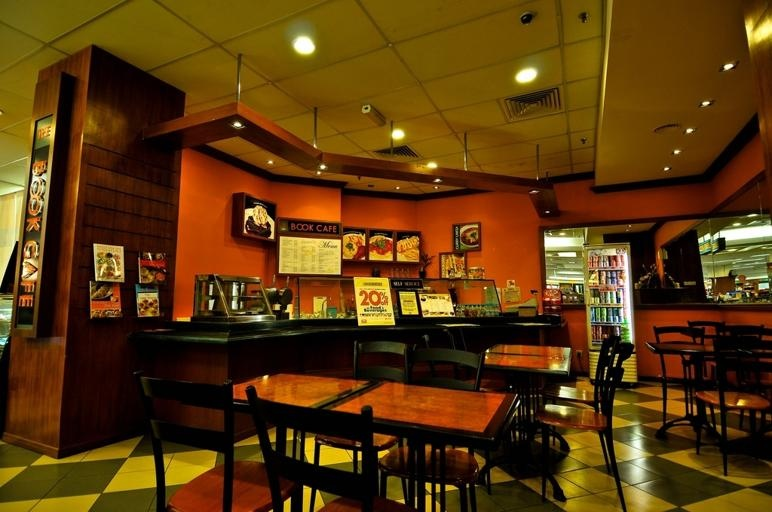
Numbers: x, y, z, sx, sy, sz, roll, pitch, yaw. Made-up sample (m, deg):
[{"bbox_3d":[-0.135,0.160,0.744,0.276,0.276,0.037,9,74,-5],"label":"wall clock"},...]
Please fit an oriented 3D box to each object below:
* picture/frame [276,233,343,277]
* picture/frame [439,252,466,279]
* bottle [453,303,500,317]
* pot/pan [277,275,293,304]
[{"bbox_3d":[-1.374,-0.145,9.093,0.177,0.981,1.807,-2,-3,30],"label":"picture/frame"},{"bbox_3d":[1.268,0.178,9.708,0.519,0.443,0.071,-4,-17,31],"label":"picture/frame"},{"bbox_3d":[1.340,0.781,7.439,0.801,0.182,0.201,4,-8,-38],"label":"bottle"},{"bbox_3d":[-1.332,0.454,6.755,0.193,0.372,0.274,1,-7,-12],"label":"pot/pan"}]
